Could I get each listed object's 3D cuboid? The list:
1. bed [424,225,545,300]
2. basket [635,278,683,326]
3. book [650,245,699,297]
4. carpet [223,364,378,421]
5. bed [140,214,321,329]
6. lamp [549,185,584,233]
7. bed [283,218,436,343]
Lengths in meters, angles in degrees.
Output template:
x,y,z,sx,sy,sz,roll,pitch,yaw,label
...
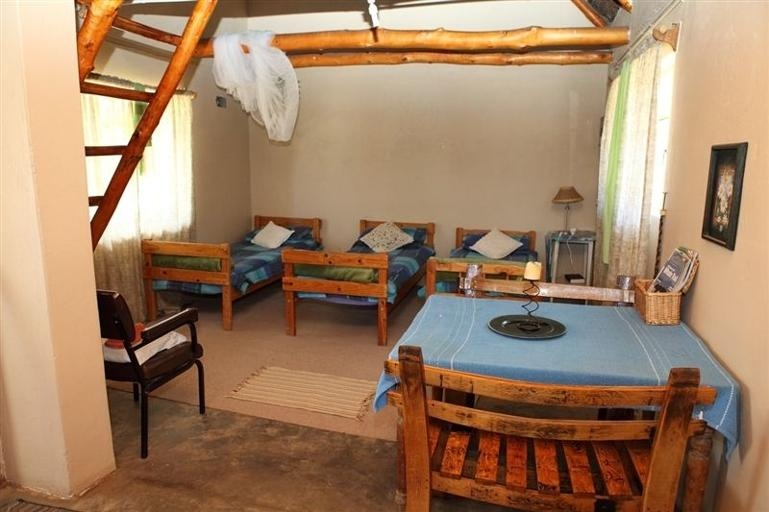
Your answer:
x,y,z,sx,sy,sz,roll,pitch,yaw,label
1.107,0.020,6.621,0.988,0.523,1.418,3,10,21,bed
1.972,0.343,3.861,0.241,0.176,0.378,-1,3,15,basket
2.126,0.110,3.873,0.104,0.325,0.251,25,2,-25,book
-0.701,1.216,4.894,1.315,0.128,0.675,3,8,17,carpet
-1.985,0.089,7.416,1.494,0.983,2.272,7,15,21,bed
2.565,-0.679,7.494,0.438,0.740,0.483,4,23,26,lamp
-0.178,0.178,7.126,1.495,0.949,2.463,4,15,14,bed
